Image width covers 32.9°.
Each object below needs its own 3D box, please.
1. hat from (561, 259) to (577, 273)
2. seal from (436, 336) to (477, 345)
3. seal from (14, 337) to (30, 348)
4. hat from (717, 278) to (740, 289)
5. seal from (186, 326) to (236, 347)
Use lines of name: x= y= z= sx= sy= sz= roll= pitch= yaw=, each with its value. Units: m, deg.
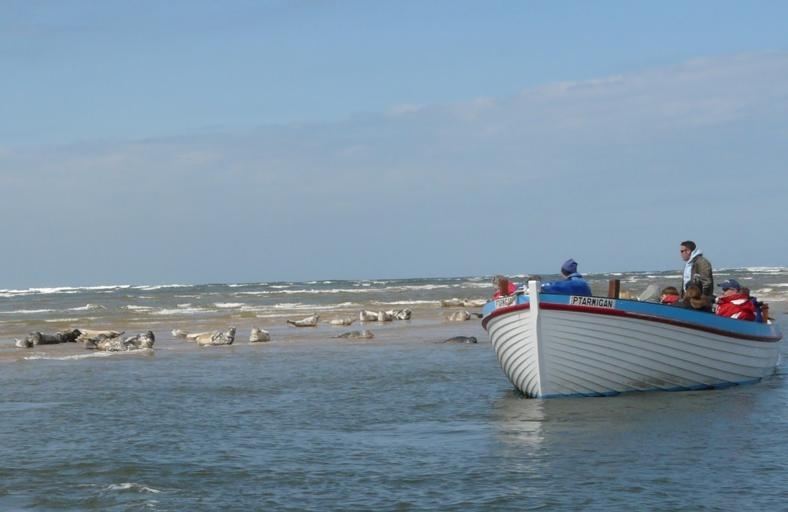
hat: x=4.040 y=0.277 z=30.453 sx=0.409 sy=0.251 sz=0.451 roll=7 pitch=-12 yaw=-11
seal: x=2.198 y=2.890 z=45.812 sx=1.300 sy=0.283 sz=0.418 roll=-5 pitch=18 yaw=-22
seal: x=-12.998 y=2.981 z=46.507 sx=0.563 sy=0.172 sz=0.572 roll=2 pitch=3 yaw=-10
hat: x=9.500 y=0.776 z=37.440 sx=0.808 sy=0.253 sz=0.416 roll=0 pitch=-1 yaw=5
seal: x=-6.912 y=2.869 z=47.389 sx=2.265 sy=0.559 sz=0.617 roll=-5 pitch=5 yaw=22
